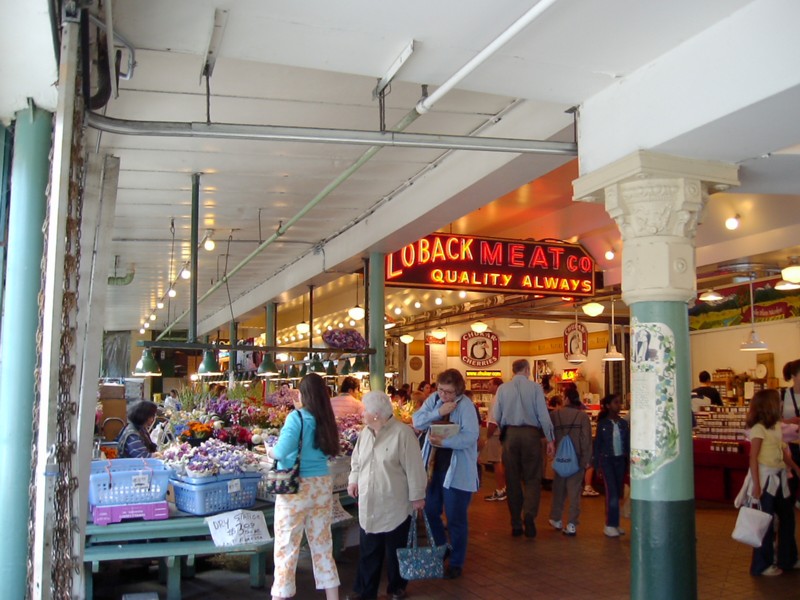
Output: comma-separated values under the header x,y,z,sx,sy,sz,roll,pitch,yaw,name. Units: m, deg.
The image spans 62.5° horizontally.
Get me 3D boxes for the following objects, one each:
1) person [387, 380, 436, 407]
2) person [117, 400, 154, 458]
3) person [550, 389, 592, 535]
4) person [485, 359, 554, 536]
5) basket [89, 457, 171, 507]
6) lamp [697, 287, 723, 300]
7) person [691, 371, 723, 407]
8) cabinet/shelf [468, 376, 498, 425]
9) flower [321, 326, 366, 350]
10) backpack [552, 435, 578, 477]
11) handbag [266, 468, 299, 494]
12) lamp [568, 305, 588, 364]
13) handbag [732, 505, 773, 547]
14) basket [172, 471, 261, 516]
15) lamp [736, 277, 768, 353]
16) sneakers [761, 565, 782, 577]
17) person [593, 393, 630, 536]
x,y,z,sx,sy,sz,roll,pitch,yaw,name
0.320,1.926,13.669,0.931,0.445,0.751,-9,-6,37,person
-2.790,1.370,7.023,0.367,0.576,0.832,1,-7,-23,person
2.122,2.095,8.390,0.620,1.978,0.587,-1,14,7,person
1.508,1.843,8.436,0.864,2.146,0.790,-6,-12,32,person
-2.314,1.562,5.724,0.678,0.320,0.498,2,-4,-23,basket
5.363,-0.064,11.465,0.409,0.185,0.416,1,-6,-3,lamp
5.832,1.664,12.599,0.446,0.603,2.123,-4,-7,24,person
2.765,3.130,20.534,1.373,0.939,0.772,17,6,-45,cabinet/shelf
-0.808,0.594,9.672,0.637,0.371,0.740,-1,-7,-6,flower
2.098,1.965,8.311,0.302,0.504,0.274,-6,-2,9,backpack
-0.935,1.449,5.281,0.198,0.190,0.078,2,-10,-13,handbag
4.072,0.940,15.321,0.436,0.869,0.472,-3,-7,15,lamp
3.417,2.214,6.368,0.438,0.410,0.230,2,-7,-27,handbag
-1.633,1.723,5.973,0.554,0.208,0.395,8,-14,-43,basket
7.140,0.329,13.453,0.426,1.432,2.162,-5,-7,28,lamp
3.657,2.649,6.485,0.319,0.087,0.120,5,-9,-42,sneakers
2.655,2.031,8.276,0.418,1.665,0.695,-3,-7,16,person
